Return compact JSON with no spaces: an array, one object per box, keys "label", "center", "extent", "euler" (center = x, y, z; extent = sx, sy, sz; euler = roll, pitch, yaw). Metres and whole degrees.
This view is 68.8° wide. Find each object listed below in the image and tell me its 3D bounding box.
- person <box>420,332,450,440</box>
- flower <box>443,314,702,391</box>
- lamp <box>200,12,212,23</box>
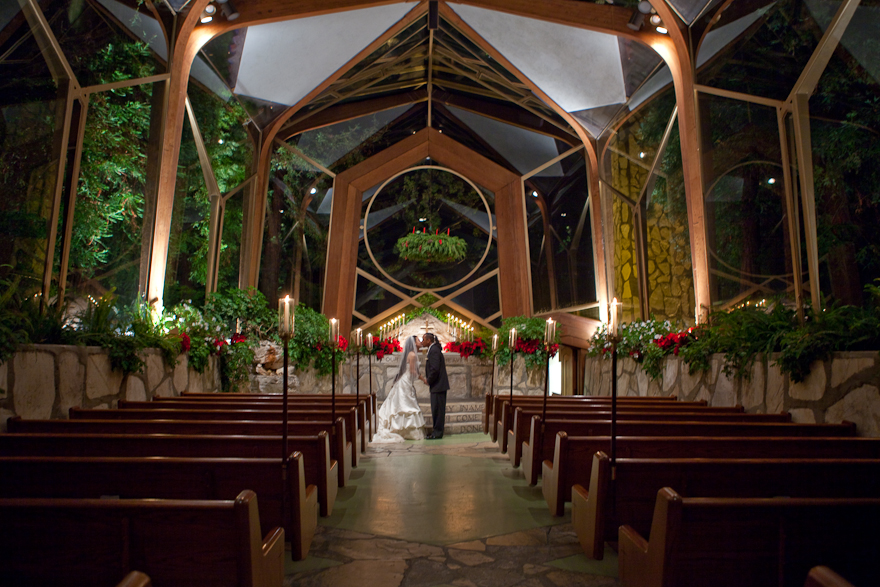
[{"label":"person","center":[-0.088,1.684,11.807],"extent":[0.420,1.382,0.955],"euler":[-5,-2,-2]},{"label":"flower","center":[3.048,1.126,12.914],"extent":[2.852,0.956,1.970],"euler":[5,-9,-26]},{"label":"lamp","center":[-3.458,-4.081,9.550],"extent":[0.164,0.060,0.200],"euler":[-5,-2,-32]}]
